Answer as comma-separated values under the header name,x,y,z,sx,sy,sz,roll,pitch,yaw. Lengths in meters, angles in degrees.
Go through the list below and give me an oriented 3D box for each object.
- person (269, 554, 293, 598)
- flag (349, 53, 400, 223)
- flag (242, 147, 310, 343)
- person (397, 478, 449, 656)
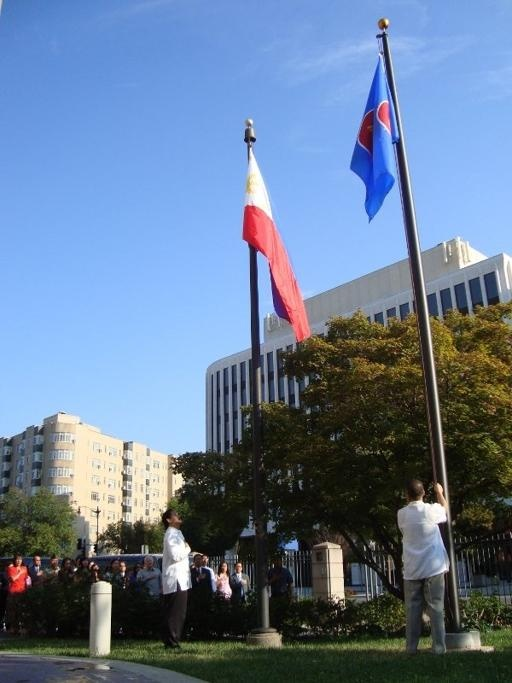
name,x,y,z,sx,sy,sz,roll,pitch,yaw
person,0.437,4.423,13.088,0.427,0.735,1.234,-1,-15,1
flag,1.780,-3.128,10.523,0.423,2.786,0.890,8,-17,-29
flag,0.301,-1.855,12.193,1.086,3.685,0.749,0,-15,-4
person,1.588,2.151,6.632,0.505,1.600,0.444,-10,-17,32
